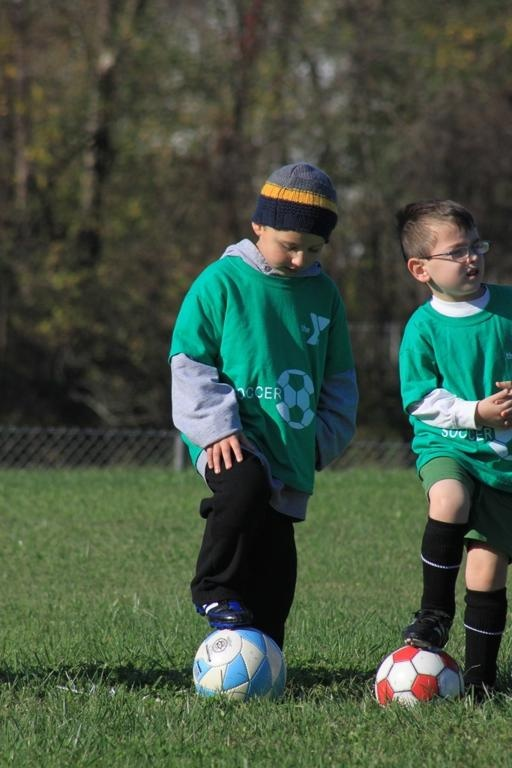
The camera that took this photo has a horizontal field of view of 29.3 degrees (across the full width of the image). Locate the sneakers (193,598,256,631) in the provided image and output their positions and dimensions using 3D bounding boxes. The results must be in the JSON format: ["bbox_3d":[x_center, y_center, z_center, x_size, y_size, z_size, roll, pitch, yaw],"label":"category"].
[{"bbox_3d":[-0.088,0.597,2.535,0.079,0.060,0.139,1,-2,-39],"label":"sneakers"}]

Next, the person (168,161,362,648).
[{"bbox_3d":[0.010,0.050,2.727,0.365,1.034,0.562,3,1,31],"label":"person"}]

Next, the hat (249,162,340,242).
[{"bbox_3d":[0.110,-0.529,2.745,0.250,0.184,0.228,-1,26,-31],"label":"hat"}]

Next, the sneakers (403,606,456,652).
[{"bbox_3d":[0.443,0.628,2.524,0.068,0.073,0.164,16,8,14],"label":"sneakers"}]

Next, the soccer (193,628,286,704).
[{"bbox_3d":[-0.044,0.704,2.536,0.214,0.175,0.189,-9,-6,6],"label":"soccer"}]

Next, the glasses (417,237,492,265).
[{"bbox_3d":[0.577,-0.372,2.805,0.110,0.028,0.106,-5,-13,-45],"label":"glasses"}]
